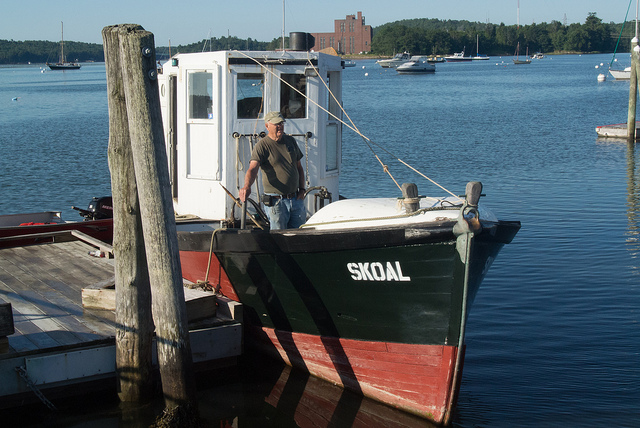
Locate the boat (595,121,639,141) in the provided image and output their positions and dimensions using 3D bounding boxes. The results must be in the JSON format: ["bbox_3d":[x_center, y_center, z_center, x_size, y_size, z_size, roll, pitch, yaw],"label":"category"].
[{"bbox_3d":[11.300,-3.225,29.248,0.914,0.666,1.705,-8,15,-30],"label":"boat"}]

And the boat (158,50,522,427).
[{"bbox_3d":[-0.145,0.029,11.149,3.635,4.648,5.063,-5,13,-18],"label":"boat"}]

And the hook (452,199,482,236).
[{"bbox_3d":[1.743,0.045,9.210,0.359,0.450,0.180,0,12,4],"label":"hook"}]

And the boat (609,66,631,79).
[{"bbox_3d":[27.281,-12.764,70.759,1.387,1.008,4.310,1,13,7],"label":"boat"}]

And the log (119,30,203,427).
[{"bbox_3d":[-1.945,0.246,9.606,0.458,4.941,1.014,-8,14,-28],"label":"log"}]
